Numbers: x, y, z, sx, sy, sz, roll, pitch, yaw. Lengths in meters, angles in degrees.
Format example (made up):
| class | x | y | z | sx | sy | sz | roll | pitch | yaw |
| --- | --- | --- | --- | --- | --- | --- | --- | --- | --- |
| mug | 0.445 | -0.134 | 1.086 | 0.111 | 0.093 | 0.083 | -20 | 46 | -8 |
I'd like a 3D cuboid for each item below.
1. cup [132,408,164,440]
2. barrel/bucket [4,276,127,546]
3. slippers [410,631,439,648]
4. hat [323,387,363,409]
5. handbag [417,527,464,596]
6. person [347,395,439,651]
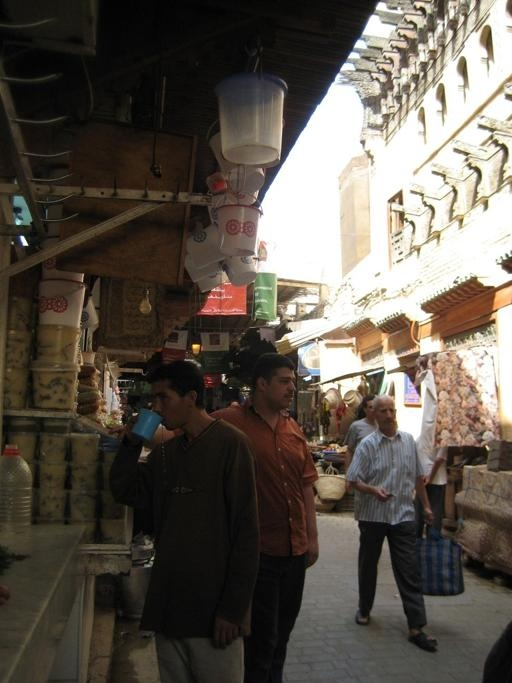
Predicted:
| class | x | y | z | sx | sy | sz | roll | pitch | yaw |
| --- | --- | --- | --- | --- | --- | --- | --- | --- | --- |
| cup | -0.405 | 0.296 | 2.098 | 0.112 | 0.119 | 0.118 | 25 | -16 | 7 |
| barrel/bucket | -1.160 | 0.394 | 3.364 | 0.615 | 1.494 | 1.656 | 1 | -9 | -12 |
| slippers | 1.176 | 2.088 | 3.893 | 0.086 | 0.073 | 0.191 | 2 | -13 | -24 |
| hat | 2.257 | 1.506 | 14.496 | 1.264 | 0.314 | 1.214 | 0 | 12 | 4 |
| handbag | 1.426 | 1.745 | 4.305 | 0.308 | 0.414 | 0.148 | -4 | -12 | 22 |
| person | 1.002 | 1.311 | 4.269 | 0.593 | 1.774 | 0.625 | -2 | -11 | 10 |
